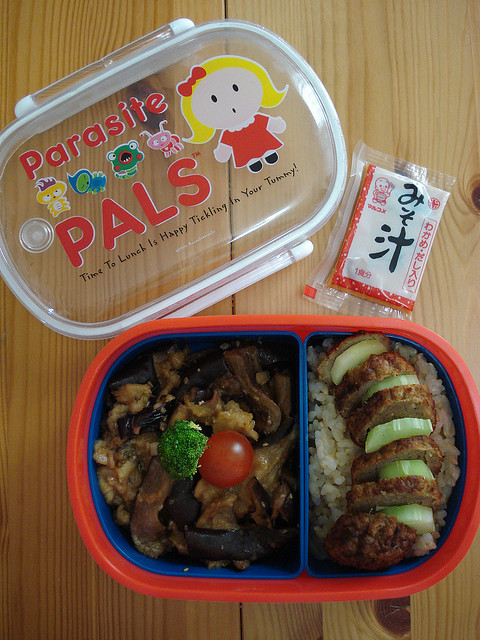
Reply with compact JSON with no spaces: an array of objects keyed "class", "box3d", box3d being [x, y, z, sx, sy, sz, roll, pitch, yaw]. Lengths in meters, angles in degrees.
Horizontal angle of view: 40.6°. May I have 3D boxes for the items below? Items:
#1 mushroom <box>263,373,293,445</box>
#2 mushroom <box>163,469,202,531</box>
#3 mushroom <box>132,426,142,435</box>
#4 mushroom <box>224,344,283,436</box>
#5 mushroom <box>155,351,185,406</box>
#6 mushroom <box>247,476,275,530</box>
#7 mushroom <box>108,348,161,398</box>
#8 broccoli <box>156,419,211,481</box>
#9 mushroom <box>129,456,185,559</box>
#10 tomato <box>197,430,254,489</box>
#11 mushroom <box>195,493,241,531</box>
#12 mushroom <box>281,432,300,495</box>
[{"class":"mushroom","box3d":[0.151,0.350,2.523,0.138,0.054,0.244,4,83,-18]},{"class":"mushroom","box3d":[-0.206,0.668,2.430,0.120,0.046,0.198,22,80,-16]},{"class":"mushroom","box3d":[-0.381,0.415,2.454,0.036,0.033,0.024,-18,72,-1]},{"class":"mushroom","box3d":[0.060,0.271,2.511,0.139,0.179,0.351,-21,72,-2]},{"class":"mushroom","box3d":[-0.263,0.241,2.572,0.123,0.158,0.177,-10,121,-10]},{"class":"mushroom","box3d":[0.080,0.685,2.419,0.044,0.097,0.189,-12,84,-14]},{"class":"mushroom","box3d":[-0.395,0.190,2.509,0.174,0.139,0.191,1,73,5]},{"class":"broccoli","box3d":[-0.203,0.470,2.400,0.179,0.106,0.206,3,85,9]},{"class":"mushroom","box3d":[-0.307,0.667,2.422,0.205,0.082,0.367,9,84,-36]},{"class":"tomato","box3d":[-0.052,0.520,2.449,0.210,0.211,0.255,-3,101,-33]},{"class":"mushroom","box3d":[-0.082,0.706,2.411,0.153,0.066,0.130,0,72,5]},{"class":"mushroom","box3d":[0.209,0.577,2.536,0.107,0.045,0.193,1,79,31]}]
